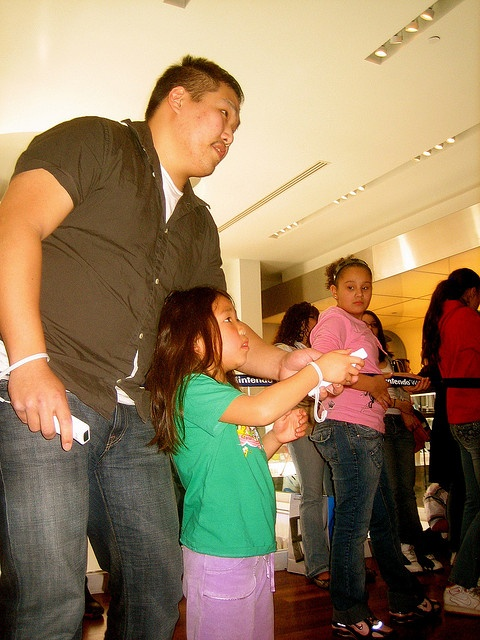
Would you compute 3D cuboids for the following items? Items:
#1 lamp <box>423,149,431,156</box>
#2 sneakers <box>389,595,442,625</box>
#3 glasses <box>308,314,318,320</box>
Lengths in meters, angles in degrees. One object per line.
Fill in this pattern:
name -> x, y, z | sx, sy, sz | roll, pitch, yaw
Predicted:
lamp -> 2.025, -1.795, 5.045 | 0.080, 0.040, 0.123 | -12, -10, 23
sneakers -> 0.779, 1.272, 2.079 | 0.254, 0.117, 0.091 | 0, -7, -23
glasses -> 0.545, -0.017, 3.430 | 0.112, 0.039, 0.037 | 2, 4, 6
